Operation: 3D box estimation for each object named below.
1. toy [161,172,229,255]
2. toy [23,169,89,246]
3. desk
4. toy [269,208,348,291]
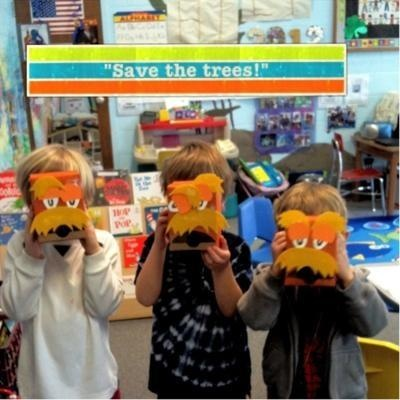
[{"bbox_3d":[-0.013,0.011,1.027,0.144,0.209,0.118,0,22,5],"label":"toy"},{"bbox_3d":[-0.385,-0.011,1.068,0.144,0.205,0.121,-8,34,-24],"label":"toy"},{"bbox_3d":[1.255,-0.177,2.779,0.265,0.442,0.440,0,19,-1],"label":"desk"},{"bbox_3d":[0.262,0.121,0.938,0.145,0.182,0.090,1,-13,16],"label":"toy"}]
